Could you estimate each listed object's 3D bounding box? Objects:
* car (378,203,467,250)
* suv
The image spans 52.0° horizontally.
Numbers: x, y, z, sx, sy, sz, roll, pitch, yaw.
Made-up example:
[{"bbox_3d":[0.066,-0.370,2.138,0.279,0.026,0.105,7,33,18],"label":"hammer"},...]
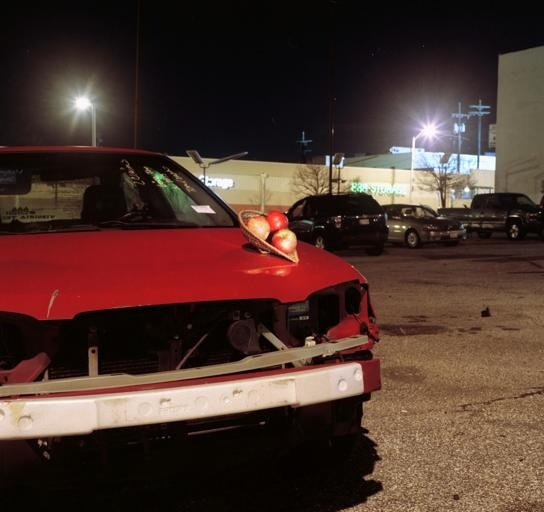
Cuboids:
[{"bbox_3d":[5.702,-1.102,21.332,2.202,1.642,2.625,0,5,-15],"label":"car"},{"bbox_3d":[1.723,-1.098,17.588,1.613,1.410,3.293,-6,13,-26],"label":"suv"}]
